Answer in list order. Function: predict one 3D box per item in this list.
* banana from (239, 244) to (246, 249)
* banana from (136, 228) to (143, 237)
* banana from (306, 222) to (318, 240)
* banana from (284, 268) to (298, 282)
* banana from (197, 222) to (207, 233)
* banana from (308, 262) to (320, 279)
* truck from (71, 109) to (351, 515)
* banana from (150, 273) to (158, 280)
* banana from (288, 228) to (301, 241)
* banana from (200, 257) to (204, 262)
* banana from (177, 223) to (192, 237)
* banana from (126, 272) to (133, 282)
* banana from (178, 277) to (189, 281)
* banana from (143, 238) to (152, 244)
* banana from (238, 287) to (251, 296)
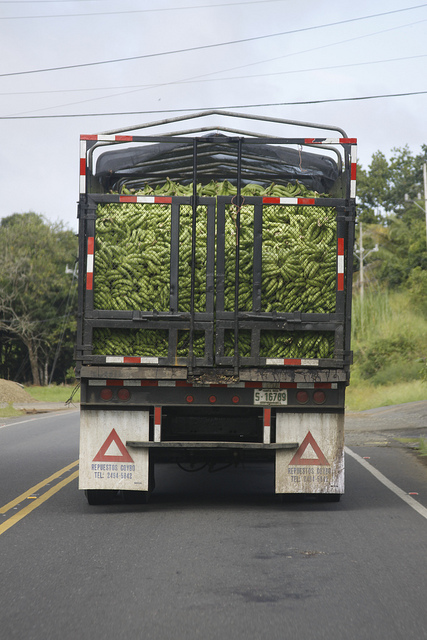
[{"bbox_3d":[0.287,-0.746,8.152,0.048,0.051,0.012,2,0,-4],"label":"banana"},{"bbox_3d":[-0.729,-0.886,8.163,0.044,0.088,0.025,-1,2,-5],"label":"banana"},{"bbox_3d":[0.976,-0.920,8.229,0.062,0.241,0.052,33,-14,-31],"label":"banana"},{"bbox_3d":[0.759,-0.447,8.182,0.035,0.225,0.034,-38,4,-2],"label":"banana"},{"bbox_3d":[-0.118,-0.930,8.171,0.084,0.098,0.029,-2,-7,-4],"label":"banana"},{"bbox_3d":[1.000,-0.507,8.192,0.124,0.155,0.014,-2,2,-19],"label":"banana"},{"bbox_3d":[0.058,-0.176,10.548,2.666,4.037,4.981,1,0,-1],"label":"truck"},{"bbox_3d":[-0.588,-0.450,8.130,0.075,0.062,0.025,-1,2,-5],"label":"banana"},{"bbox_3d":[0.813,-0.875,8.203,0.110,0.119,0.028,36,-41,-26],"label":"banana"},{"bbox_3d":[-0.115,-0.616,8.143,0.037,0.040,0.012,22,-24,-21],"label":"banana"},{"bbox_3d":[-0.288,-0.920,8.171,0.116,0.128,0.034,4,-5,5],"label":"banana"},{"bbox_3d":[-0.827,-0.445,8.151,0.066,0.075,0.022,0,2,17],"label":"banana"},{"bbox_3d":[-0.295,-0.422,8.132,0.105,0.032,0.026,-1,2,-9],"label":"banana"},{"bbox_3d":[-0.654,-0.803,8.152,0.051,0.054,0.015,-12,-3,0],"label":"banana"},{"bbox_3d":[0.300,-0.305,8.124,0.103,0.068,0.022,-2,2,-22],"label":"banana"}]
